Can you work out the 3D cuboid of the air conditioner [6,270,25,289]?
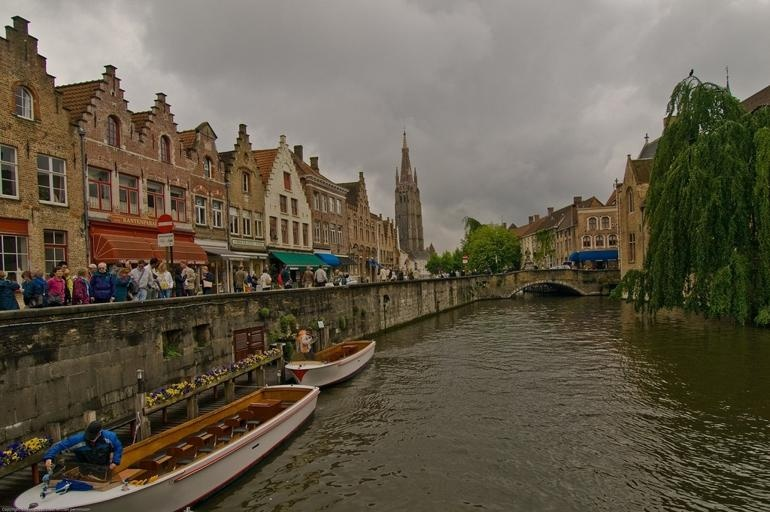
[{"bbox_3d":[-15.296,0.936,26.347,0.694,0.690,0.381,-1,-3,-20],"label":"air conditioner"}]

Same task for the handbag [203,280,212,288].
[{"bbox_3d":[-8.566,1.309,30.808,0.376,0.384,0.308,-7,6,-6],"label":"handbag"}]

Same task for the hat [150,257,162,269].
[{"bbox_3d":[-10.064,0.279,27.999,0.330,0.567,0.376,10,10,0],"label":"hat"}]
